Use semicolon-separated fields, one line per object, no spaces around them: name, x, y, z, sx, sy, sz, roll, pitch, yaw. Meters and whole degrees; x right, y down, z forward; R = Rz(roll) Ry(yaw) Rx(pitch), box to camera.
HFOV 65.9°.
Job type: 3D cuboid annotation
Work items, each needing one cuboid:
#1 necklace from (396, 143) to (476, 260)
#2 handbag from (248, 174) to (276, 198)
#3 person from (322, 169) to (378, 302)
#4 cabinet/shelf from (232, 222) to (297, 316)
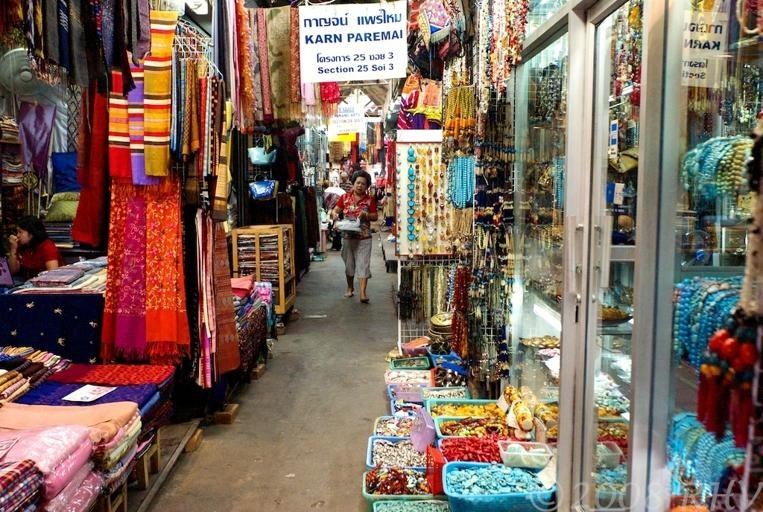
necklace;0.398;-0.519;5.420;0.516;1.032;0.125;0;6;-1
handbag;-1.597;-0.908;8.014;0.235;0.356;0.116;-3;44;0
person;-0.383;-0.279;8.652;0.617;1.926;1.290;0;6;-2
cabinet/shelf;-1.460;0.235;7.316;0.710;1.211;0.734;-1;6;-6
